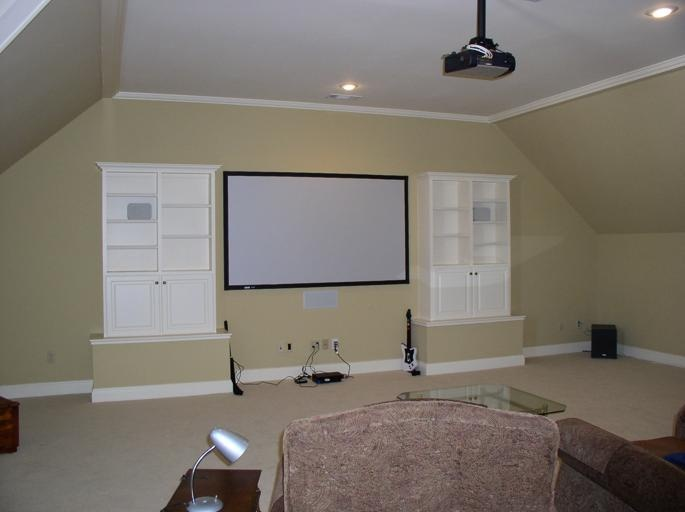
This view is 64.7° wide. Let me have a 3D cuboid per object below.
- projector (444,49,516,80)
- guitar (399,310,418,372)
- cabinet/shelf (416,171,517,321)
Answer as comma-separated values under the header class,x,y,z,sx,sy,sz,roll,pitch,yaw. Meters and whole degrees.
class,x,y,z,sx,sy,sz,roll,pitch,yaw
projector,0.899,-1.282,3.669,0.253,0.109,0.259,-1,5,-23
guitar,0.836,1.057,6.772,0.247,0.770,0.069,-4,-7,43
cabinet/shelf,1.569,-0.141,6.928,1.254,1.814,0.540,-2,8,-16
